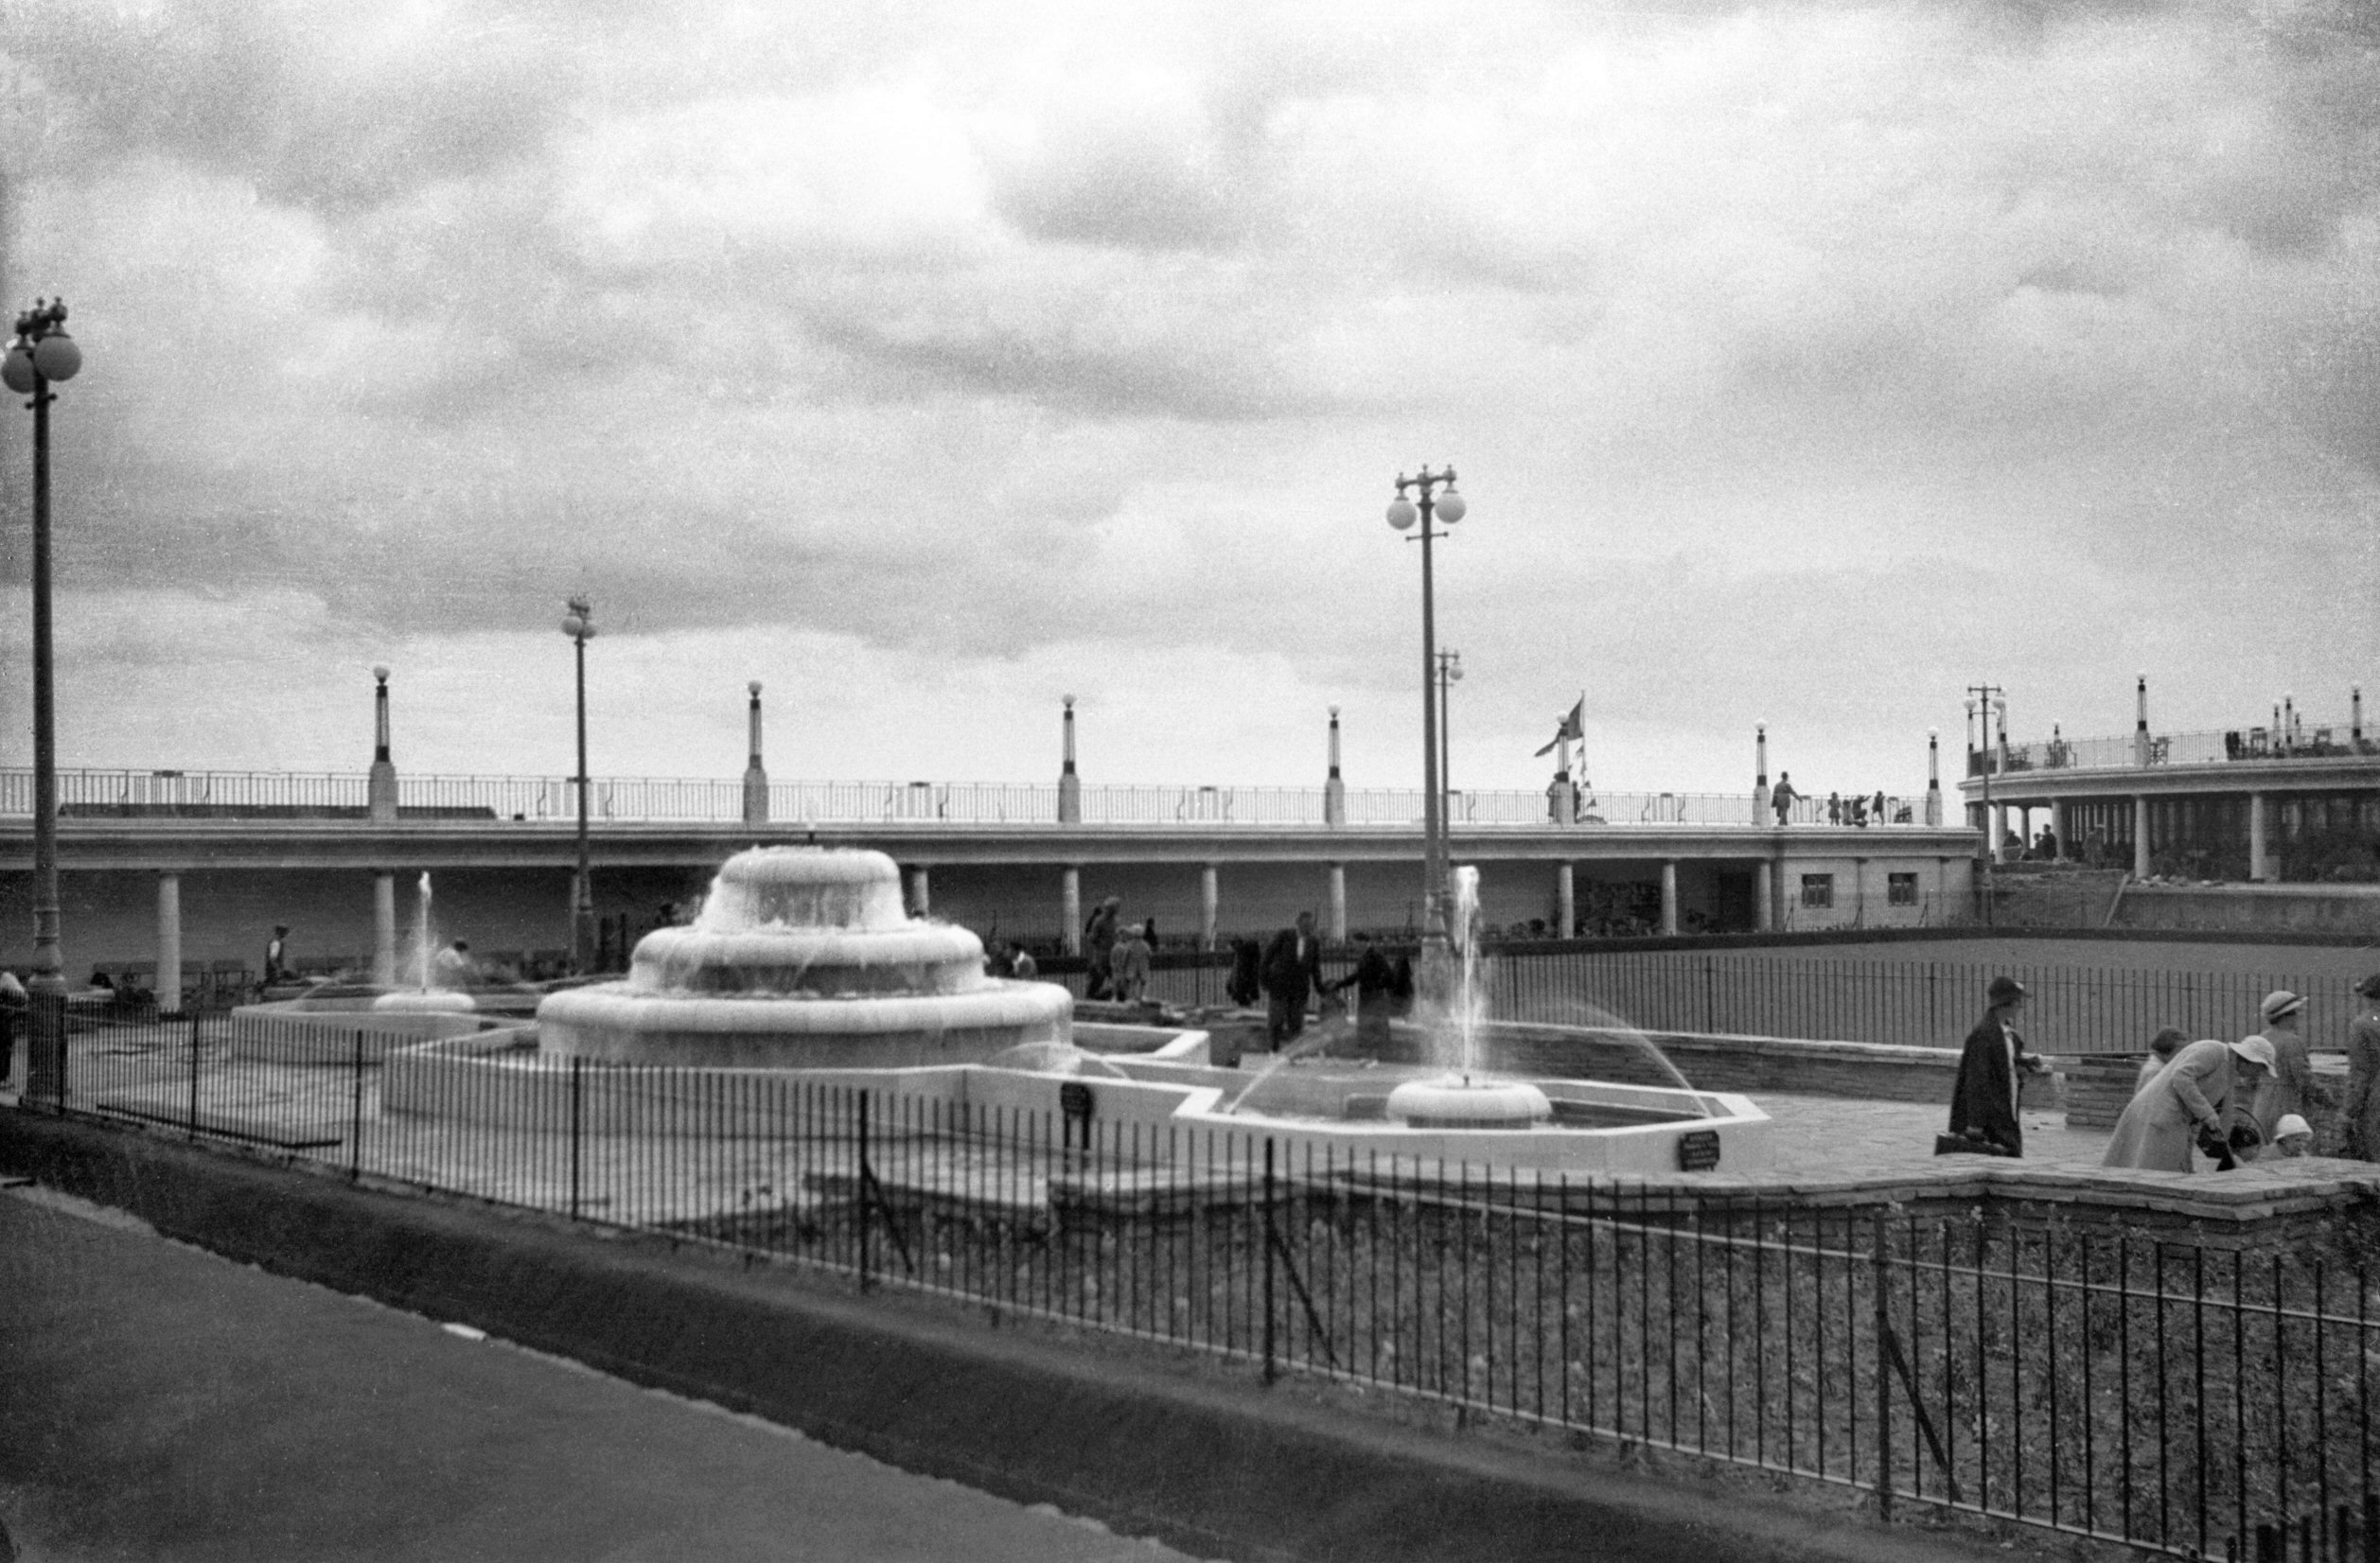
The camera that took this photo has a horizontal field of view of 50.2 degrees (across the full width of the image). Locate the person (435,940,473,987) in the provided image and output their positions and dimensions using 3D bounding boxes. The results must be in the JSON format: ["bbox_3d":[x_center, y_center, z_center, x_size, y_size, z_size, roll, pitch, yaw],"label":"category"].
[{"bbox_3d":[-14.532,3.487,49.847,0.667,0.659,2.371,2,-4,-16],"label":"person"}]

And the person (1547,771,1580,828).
[{"bbox_3d":[9.459,0.483,64.051,0.856,1.356,2.126,0,-3,10],"label":"person"}]

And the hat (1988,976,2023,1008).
[{"bbox_3d":[7.308,1.905,22.685,0.296,0.112,0.263,-19,12,43],"label":"hat"}]

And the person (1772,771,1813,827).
[{"bbox_3d":[16.066,0.524,68.039,0.923,1.447,2.813,0,-3,20],"label":"person"}]

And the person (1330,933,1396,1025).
[{"bbox_3d":[2.610,3.075,38.927,1.179,1.893,0.568,1,2,19],"label":"person"}]
